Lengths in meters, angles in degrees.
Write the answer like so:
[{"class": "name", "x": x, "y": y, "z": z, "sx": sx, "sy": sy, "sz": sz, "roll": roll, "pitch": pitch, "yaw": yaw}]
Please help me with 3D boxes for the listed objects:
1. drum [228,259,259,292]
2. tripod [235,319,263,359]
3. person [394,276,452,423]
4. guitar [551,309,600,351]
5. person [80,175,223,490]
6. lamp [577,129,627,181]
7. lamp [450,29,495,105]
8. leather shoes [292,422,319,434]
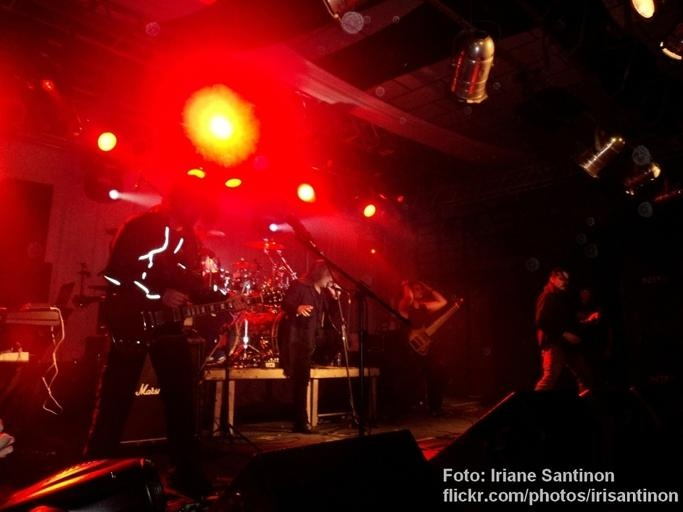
[{"class": "drum", "x": -1.715, "y": 0.377, "z": 9.660, "sx": 0.601, "sy": 0.664, "sz": 0.639, "roll": 3, "pitch": -1, "yaw": -23}, {"class": "tripod", "x": -1.530, "y": 1.307, "z": 8.331, "sx": 0.506, "sy": 0.558, "sz": 0.502, "roll": 0, "pitch": -8, "yaw": -3}, {"class": "person", "x": 1.553, "y": 1.570, "z": 9.421, "sx": 0.858, "sy": 2.525, "sz": 0.786, "roll": -8, "pitch": -23, "yaw": 6}, {"class": "guitar", "x": 3.390, "y": 1.027, "z": 7.338, "sx": 0.568, "sy": 0.463, "sz": 0.236, "roll": -5, "pitch": -23, "yaw": 0}, {"class": "person", "x": -1.658, "y": 0.749, "z": 4.678, "sx": 0.962, "sy": 2.602, "sz": 0.703, "roll": 6, "pitch": -25, "yaw": -24}, {"class": "lamp", "x": 3.904, "y": -1.562, "z": 7.957, "sx": 0.361, "sy": 0.703, "sz": 0.688, "roll": 27, "pitch": -4, "yaw": 27}, {"class": "lamp", "x": 1.541, "y": -2.273, "z": 6.195, "sx": 0.584, "sy": 0.523, "sz": 0.712, "roll": 7, "pitch": -44, "yaw": 8}, {"class": "leather shoes", "x": -0.527, "y": 2.327, "z": 7.098, "sx": 0.418, "sy": 0.177, "sz": 0.154, "roll": -6, "pitch": -14, "yaw": 18}]
